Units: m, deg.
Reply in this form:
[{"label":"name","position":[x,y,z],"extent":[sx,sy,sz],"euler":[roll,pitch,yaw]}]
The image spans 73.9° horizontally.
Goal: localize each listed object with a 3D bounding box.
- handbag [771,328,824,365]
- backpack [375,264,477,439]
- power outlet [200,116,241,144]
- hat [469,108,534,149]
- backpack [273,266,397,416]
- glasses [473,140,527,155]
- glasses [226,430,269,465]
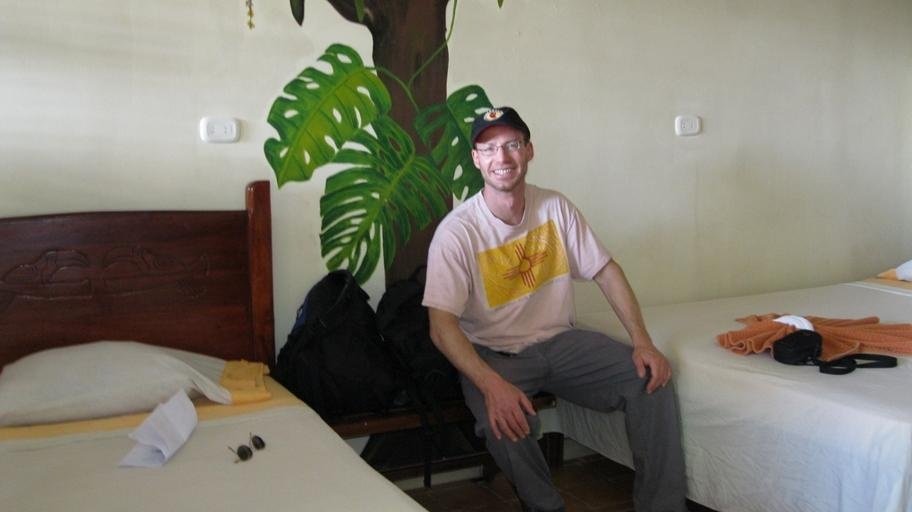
[{"label":"handbag","position":[1.554,0.407,2.775],"extent":[0.185,0.116,0.141],"euler":[8,9,44]},{"label":"backpack","position":[-0.181,0.497,3.104],"extent":[0.485,0.763,0.278],"euler":[-10,-9,-19]},{"label":"power outlet","position":[-1.200,-0.643,3.106],"extent":[0.202,0.135,0.039],"euler":[-9,8,-20]},{"label":"hat","position":[0.221,-0.646,2.999],"extent":[0.263,0.148,0.315],"euler":[-7,-5,18]},{"label":"backpack","position":[-0.595,0.503,3.160],"extent":[0.638,0.667,0.367],"euler":[-16,19,-35]},{"label":"glasses","position":[0.212,-0.523,2.946],"extent":[0.237,0.059,0.057],"euler":[-6,7,6]},{"label":"glasses","position":[-0.824,0.775,2.428],"extent":[0.113,0.054,0.087],"euler":[-11,-1,8]}]
